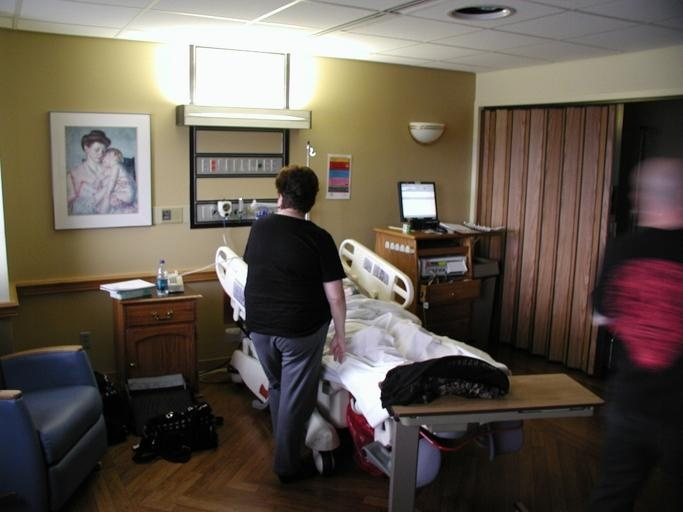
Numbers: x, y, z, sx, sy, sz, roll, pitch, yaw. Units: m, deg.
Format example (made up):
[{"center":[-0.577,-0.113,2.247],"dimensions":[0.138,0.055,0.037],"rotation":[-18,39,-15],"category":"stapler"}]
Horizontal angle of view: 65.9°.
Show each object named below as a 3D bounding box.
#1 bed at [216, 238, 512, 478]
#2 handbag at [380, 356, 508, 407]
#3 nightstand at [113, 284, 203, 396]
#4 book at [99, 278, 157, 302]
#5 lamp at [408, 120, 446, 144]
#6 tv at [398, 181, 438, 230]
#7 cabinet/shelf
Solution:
[{"center":[0.076,0.569,3.772],"dimensions":[1.235,1.065,2.115],"rotation":[-6,19,-39],"category":"bed"},{"center":[0.515,0.623,2.605],"dimensions":[0.459,0.150,0.290],"rotation":[-3,0,-8],"category":"handbag"},{"center":[-1.447,0.608,4.339],"dimensions":[0.749,1.016,0.665],"rotation":[-1,2,-27],"category":"nightstand"},{"center":[-1.594,0.258,4.034],"dimensions":[0.225,0.076,0.225],"rotation":[9,9,42],"category":"book"},{"center":[0.898,-1.247,5.327],"dimensions":[0.443,0.231,0.189],"rotation":[-10,12,-34],"category":"lamp"},{"center":[0.721,-0.480,5.025],"dimensions":[0.447,0.530,0.168],"rotation":[1,-6,-29],"category":"tv"},{"center":[0.645,0.204,5.107],"dimensions":[0.779,1.243,1.019],"rotation":[-3,7,-28],"category":"cabinet/shelf"}]
